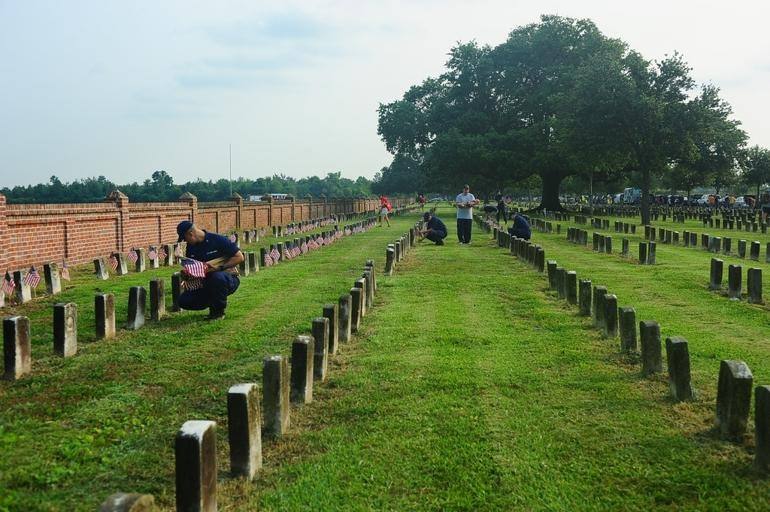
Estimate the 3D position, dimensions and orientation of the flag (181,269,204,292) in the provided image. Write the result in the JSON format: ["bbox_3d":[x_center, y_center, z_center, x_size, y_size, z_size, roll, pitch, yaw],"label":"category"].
[{"bbox_3d":[-3.658,0.456,14.614,0.349,0.429,0.416,2,-1,3],"label":"flag"}]

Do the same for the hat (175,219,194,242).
[{"bbox_3d":[-3.764,-0.484,14.617,0.267,0.335,0.420,-2,6,-13],"label":"hat"}]

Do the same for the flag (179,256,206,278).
[{"bbox_3d":[-3.572,0.227,14.565,0.482,0.388,0.433,-3,6,-23],"label":"flag"}]

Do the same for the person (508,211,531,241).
[{"bbox_3d":[4.297,-0.931,25.003,0.656,0.775,2.154,0,6,9],"label":"person"}]

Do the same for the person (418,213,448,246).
[{"bbox_3d":[1.728,-0.966,28.493,1.030,1.299,0.911,-9,2,8],"label":"person"}]
